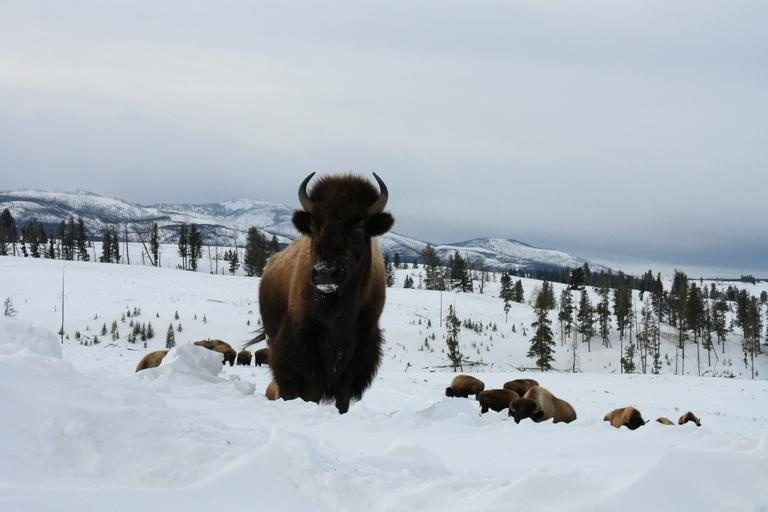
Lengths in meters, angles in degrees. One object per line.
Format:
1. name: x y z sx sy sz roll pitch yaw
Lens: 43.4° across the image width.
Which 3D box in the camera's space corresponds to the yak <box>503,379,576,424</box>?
1. yak: 25.697 25.383 160.131 11.227 6.883 5.196 22 -41 -17
